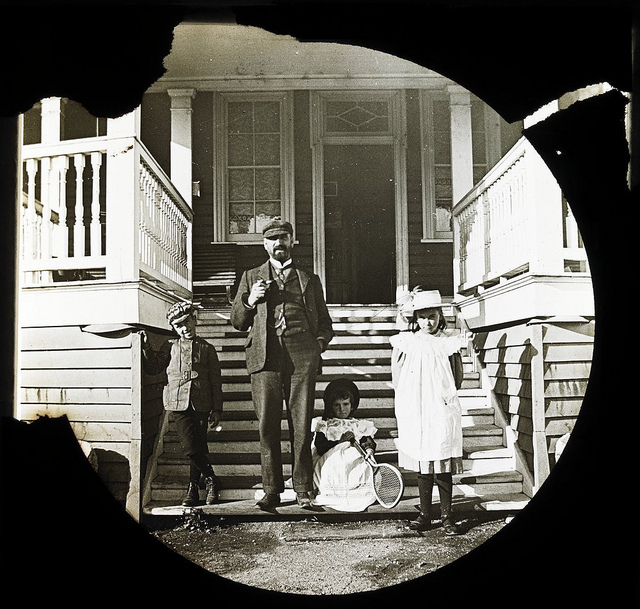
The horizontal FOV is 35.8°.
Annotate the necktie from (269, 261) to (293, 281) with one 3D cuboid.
[{"bbox_3d":[-0.225,-0.187,5.337,0.181,0.073,0.011,2,-37,0],"label":"necktie"}]

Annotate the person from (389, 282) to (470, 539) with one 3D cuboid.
[{"bbox_3d":[0.569,0.565,5.274,0.387,1.333,0.368,-1,-3,6],"label":"person"}]

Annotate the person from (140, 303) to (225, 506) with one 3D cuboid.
[{"bbox_3d":[-0.758,0.533,5.326,0.449,1.074,0.209,0,-3,-7],"label":"person"}]

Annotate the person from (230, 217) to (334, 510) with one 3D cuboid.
[{"bbox_3d":[-0.217,0.310,5.281,0.527,1.537,0.251,0,-3,-7],"label":"person"}]
